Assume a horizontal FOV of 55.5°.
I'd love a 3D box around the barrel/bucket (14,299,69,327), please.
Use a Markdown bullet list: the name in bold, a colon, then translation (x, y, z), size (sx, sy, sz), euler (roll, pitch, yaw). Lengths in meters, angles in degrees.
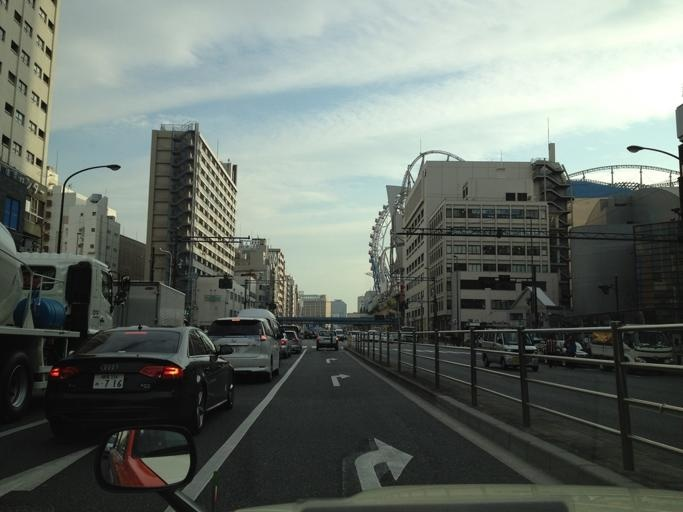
- **barrel/bucket**: translation (-6.221, 1.147, 13.449), size (0.618, 0.631, 1.082), euler (-6, -5, 8)
